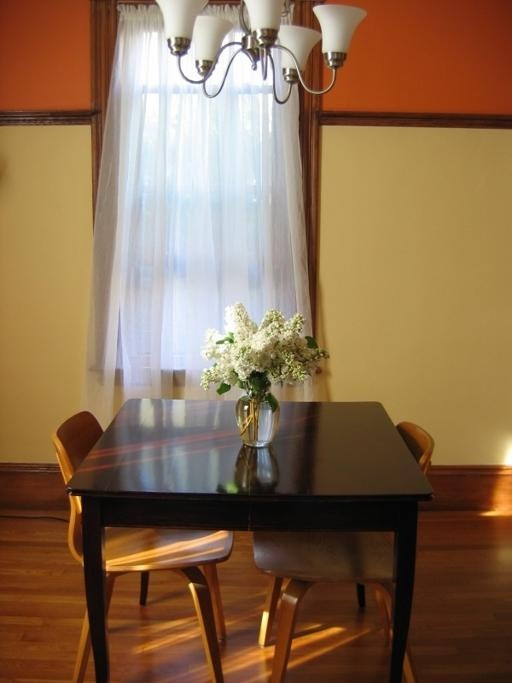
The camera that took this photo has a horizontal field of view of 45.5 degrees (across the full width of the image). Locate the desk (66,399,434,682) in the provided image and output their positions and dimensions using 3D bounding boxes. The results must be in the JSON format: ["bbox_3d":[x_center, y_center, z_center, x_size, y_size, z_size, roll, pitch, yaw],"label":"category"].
[{"bbox_3d":[-0.026,0.321,1.821,0.732,0.780,0.807,0,10,1],"label":"desk"}]

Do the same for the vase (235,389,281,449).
[{"bbox_3d":[0.005,0.218,1.767,0.117,0.170,0.130,1,2,-2],"label":"vase"}]

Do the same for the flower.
[{"bbox_3d":[0.012,0.020,1.754,0.395,0.490,0.334,5,11,31],"label":"flower"}]

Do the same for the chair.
[{"bbox_3d":[-0.060,0.605,1.972,0.942,0.675,0.801,0,4,3],"label":"chair"}]
